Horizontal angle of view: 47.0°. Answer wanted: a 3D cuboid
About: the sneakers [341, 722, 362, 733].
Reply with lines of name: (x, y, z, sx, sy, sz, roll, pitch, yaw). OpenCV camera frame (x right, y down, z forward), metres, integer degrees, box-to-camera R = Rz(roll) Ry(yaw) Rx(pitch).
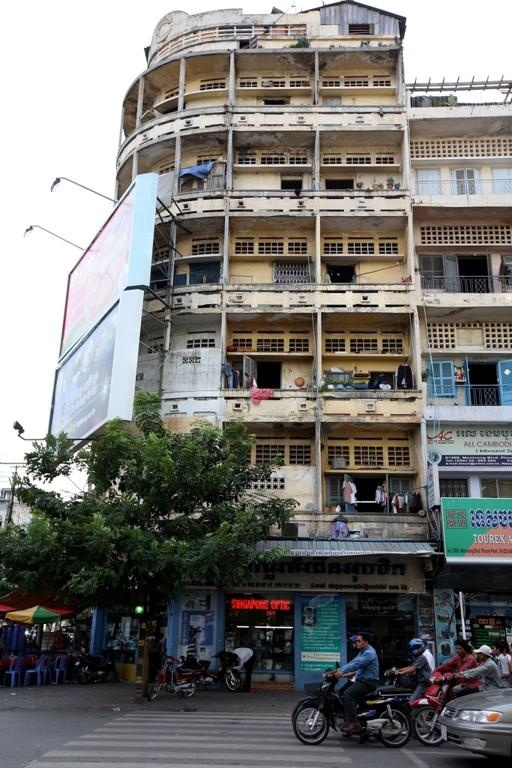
sneakers: (1.141, 4.147, 7.101, 0.223, 0.161, 0.185, -13, -25, 28)

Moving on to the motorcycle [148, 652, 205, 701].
motorcycle: (-1.848, 6.952, 13.933, 1.023, 0.814, 3.009, 2, -22, -5)

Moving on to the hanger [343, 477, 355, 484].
hanger: (3.068, 3.186, 19.654, 0.240, 0.272, 0.317, 7, -3, -40)

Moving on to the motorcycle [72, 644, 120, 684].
motorcycle: (-5.245, 8.986, 18.525, 0.768, 1.087, 1.857, -28, -31, 29)

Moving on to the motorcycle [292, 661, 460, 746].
motorcycle: (1.423, 4.094, 7.649, 1.924, 1.216, 0.957, 1, -35, -2)

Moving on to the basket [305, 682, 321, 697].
basket: (0.714, 3.873, 7.452, 0.194, 0.162, 0.597, -2, -22, 5)

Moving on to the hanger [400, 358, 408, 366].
hanger: (5.382, -0.780, 21.377, 0.216, 0.218, 0.378, 2, -22, -6)

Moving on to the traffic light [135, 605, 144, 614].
traffic light: (-2.776, 5.385, 13.971, 0.207, 0.195, 0.050, 1, -6, 17)
